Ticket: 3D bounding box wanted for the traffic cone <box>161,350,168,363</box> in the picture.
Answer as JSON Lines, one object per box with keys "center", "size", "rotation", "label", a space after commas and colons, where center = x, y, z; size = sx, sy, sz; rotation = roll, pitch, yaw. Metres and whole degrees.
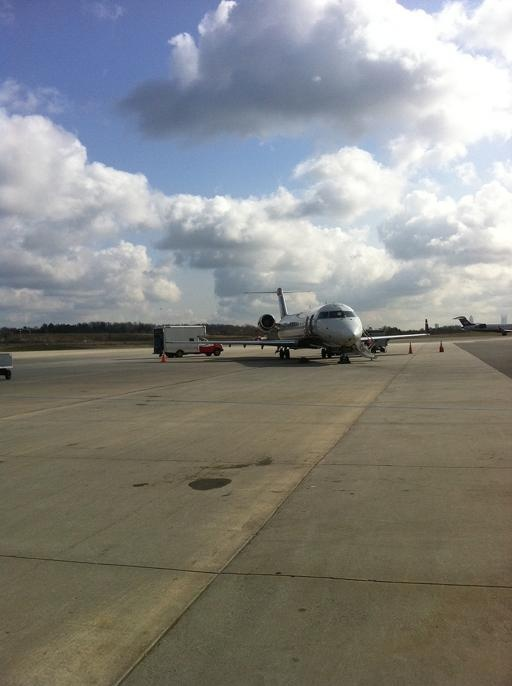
{"center": [-6.986, 0.956, 39.448], "size": [0.645, 0.673, 1.115], "rotation": [5, 5, -7], "label": "traffic cone"}
